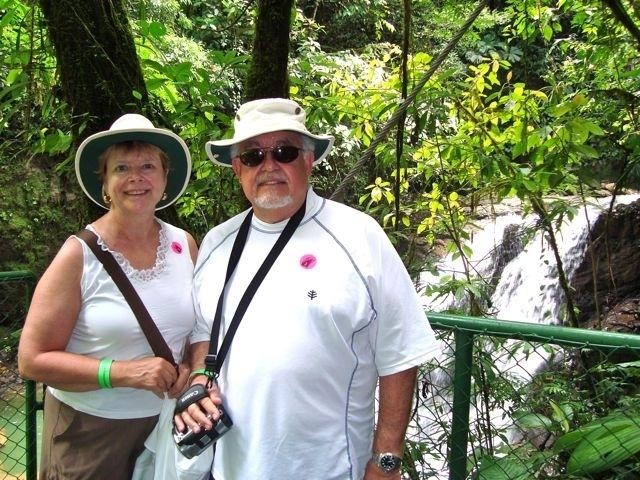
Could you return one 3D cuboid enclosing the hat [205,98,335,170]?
[{"bbox_3d":[-0.259,-0.663,3.533,0.518,0.206,0.457,1,-9,-15],"label":"hat"}]

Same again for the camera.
[{"bbox_3d":[-0.630,1.015,3.304,0.259,0.259,0.093,-37,-23,6],"label":"camera"}]
